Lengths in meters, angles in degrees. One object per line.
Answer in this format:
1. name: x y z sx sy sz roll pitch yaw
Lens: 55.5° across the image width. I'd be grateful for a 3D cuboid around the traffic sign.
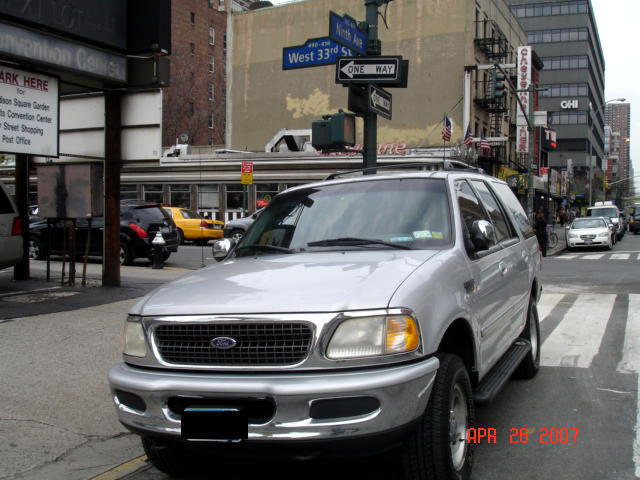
1. traffic sign: 0.551 -3.324 10.885 2.063 2.198 1.338 1 5 1
